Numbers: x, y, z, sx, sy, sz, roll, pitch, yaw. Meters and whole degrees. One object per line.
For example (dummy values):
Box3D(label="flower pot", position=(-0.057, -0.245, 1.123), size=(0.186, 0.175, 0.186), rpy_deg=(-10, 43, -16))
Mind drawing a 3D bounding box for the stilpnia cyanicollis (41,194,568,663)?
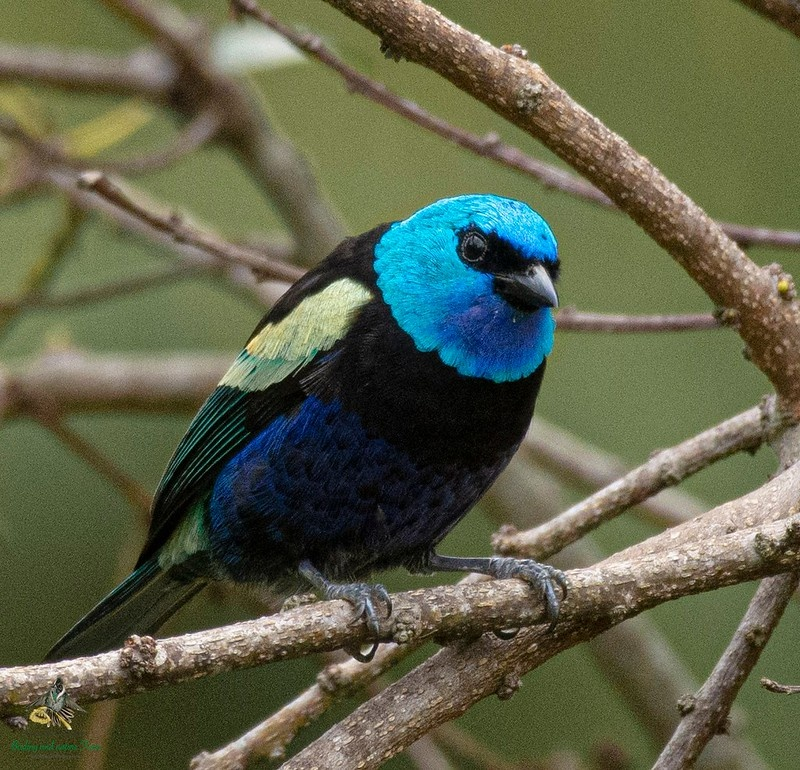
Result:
Box3D(label="stilpnia cyanicollis", position=(-0.368, 0.243, 3.902), size=(2.237, 1.323, 0.979), rpy_deg=(-11, -17, 33))
